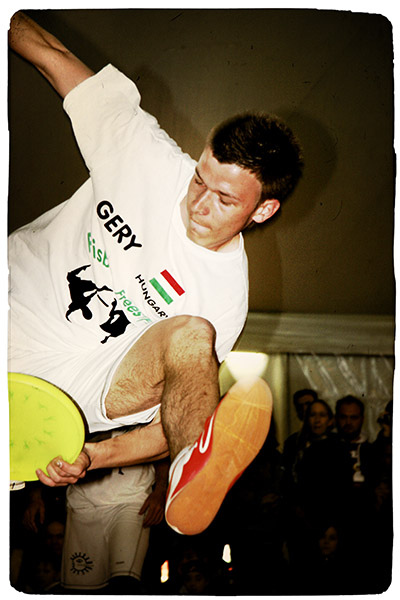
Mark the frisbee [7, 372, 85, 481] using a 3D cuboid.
[{"bbox_3d":[-0.505,0.400,1.824,0.243,0.274,0.236,-8,33,-12],"label":"frisbee"}]

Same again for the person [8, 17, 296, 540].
[{"bbox_3d":[-0.200,-0.064,1.778,0.906,1.363,0.847,5,32,9],"label":"person"}]
